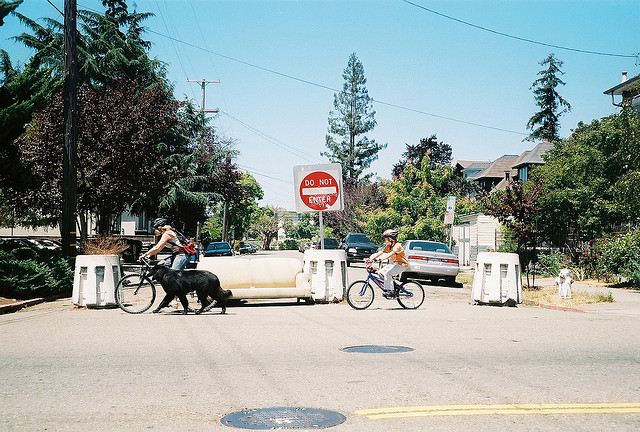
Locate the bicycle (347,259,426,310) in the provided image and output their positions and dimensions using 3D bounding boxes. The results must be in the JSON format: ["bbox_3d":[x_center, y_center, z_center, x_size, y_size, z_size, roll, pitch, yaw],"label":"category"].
[{"bbox_3d":[1.918,2.013,19.135,2.270,1.374,1.032,0,-6,0],"label":"bicycle"}]

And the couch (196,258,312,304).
[{"bbox_3d":[-1.736,1.822,19.317,3.136,1.268,1.249,-1,-11,-11],"label":"couch"}]

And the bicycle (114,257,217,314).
[{"bbox_3d":[-4.256,1.912,18.337,2.853,1.559,1.215,-2,7,-12],"label":"bicycle"}]

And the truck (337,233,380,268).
[{"bbox_3d":[2.761,2.212,45.601,2.503,2.197,5.617,4,0,-7],"label":"truck"}]

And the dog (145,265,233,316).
[{"bbox_3d":[-3.412,1.954,17.446,2.267,1.363,0.593,4,19,3],"label":"dog"}]

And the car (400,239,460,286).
[{"bbox_3d":[4.555,1.936,29.974,2.401,1.779,5.759,6,0,-5],"label":"car"}]
